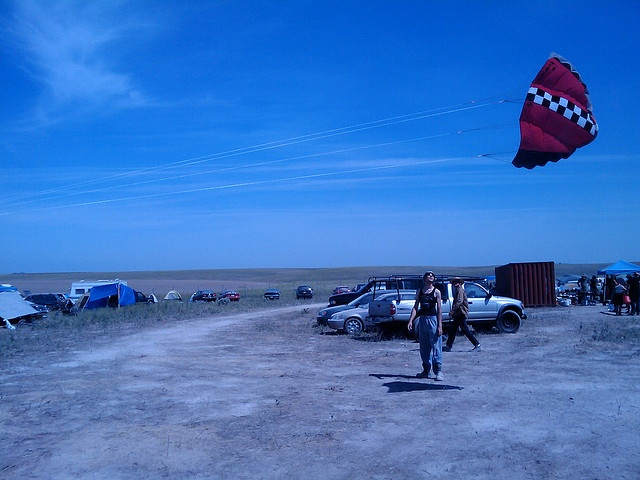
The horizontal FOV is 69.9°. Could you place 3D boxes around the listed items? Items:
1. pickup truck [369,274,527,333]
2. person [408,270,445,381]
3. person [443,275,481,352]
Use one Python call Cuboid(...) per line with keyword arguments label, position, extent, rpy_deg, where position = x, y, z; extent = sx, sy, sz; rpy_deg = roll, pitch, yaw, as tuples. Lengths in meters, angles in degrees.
Cuboid(label="pickup truck", position=(5.195, 2.795, 18.637), extent=(5.959, 2.124, 2.238), rpy_deg=(0, -1, -9))
Cuboid(label="person", position=(2.531, 1.945, 10.724), extent=(0.771, 2.417, 0.797), rpy_deg=(-8, -13, 41))
Cuboid(label="person", position=(4.267, 2.136, 13.794), extent=(1.325, 2.145, 0.747), rpy_deg=(0, -1, 26))
